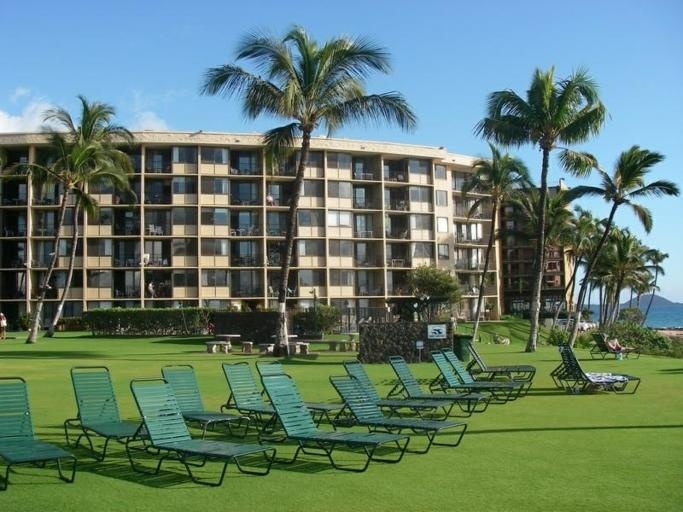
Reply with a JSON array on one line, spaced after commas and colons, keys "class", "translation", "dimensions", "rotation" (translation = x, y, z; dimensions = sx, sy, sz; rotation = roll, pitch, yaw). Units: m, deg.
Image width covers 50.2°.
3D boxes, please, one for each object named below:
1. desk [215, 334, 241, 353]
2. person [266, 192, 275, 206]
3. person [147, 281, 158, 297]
[{"class": "desk", "translation": [-5.530, 4.240, 36.134], "dimensions": [1.196, 0.696, 1.138], "rotation": [0, -6, -2]}, {"class": "person", "translation": [-5.811, -4.651, 59.706], "dimensions": [0.646, 1.075, 0.947], "rotation": [-1, -4, 1]}, {"class": "person", "translation": [-14.887, 2.630, 57.326], "dimensions": [0.711, 1.234, 1.759], "rotation": [1, -4, -15]}]
